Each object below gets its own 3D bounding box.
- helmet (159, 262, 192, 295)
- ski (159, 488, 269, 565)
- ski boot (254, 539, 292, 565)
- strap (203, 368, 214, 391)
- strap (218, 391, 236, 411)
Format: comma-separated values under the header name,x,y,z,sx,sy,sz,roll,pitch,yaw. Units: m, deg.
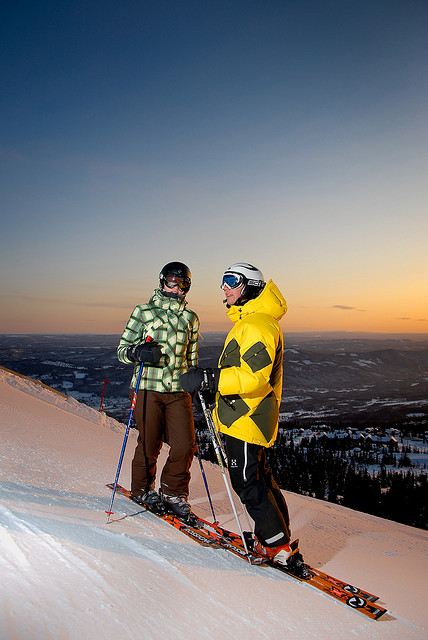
name,x,y,z,sx,sy,sz,roll,pitch,yaw
helmet,-0.398,-0.426,4.822,0.280,0.219,0.449,4,-3,-7
ski,-0.177,1.800,4.479,0.242,0.110,2.032,2,7,-32
ski boot,0.458,1.789,3.705,0.255,0.152,0.108,10,13,16
strap,-0.022,0.491,3.932,0.065,0.160,0.119,6,0,6
strap,0.098,0.619,3.630,0.175,0.032,0.025,42,-8,33
